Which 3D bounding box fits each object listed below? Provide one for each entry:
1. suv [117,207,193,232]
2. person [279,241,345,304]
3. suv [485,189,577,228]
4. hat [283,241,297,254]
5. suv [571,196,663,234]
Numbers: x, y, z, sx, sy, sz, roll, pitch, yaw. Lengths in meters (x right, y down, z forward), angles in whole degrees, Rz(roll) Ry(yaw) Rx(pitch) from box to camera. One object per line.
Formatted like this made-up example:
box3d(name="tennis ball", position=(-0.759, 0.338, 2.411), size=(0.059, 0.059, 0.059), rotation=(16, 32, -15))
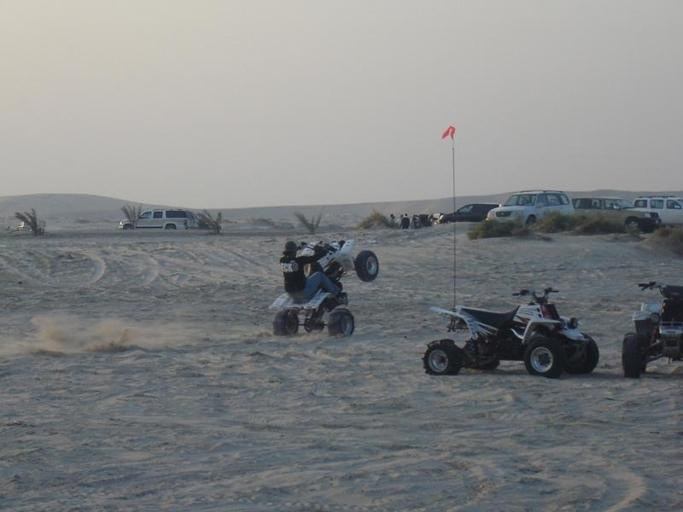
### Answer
box3d(name="suv", position=(-7.707, -1.466, 39.055), size=(2.646, 0.700, 1.045), rotation=(2, 2, 2))
box3d(name="person", position=(-0.592, 0.262, 16.319), size=(0.920, 1.044, 0.427), rotation=(-9, 16, -39))
box3d(name="suv", position=(6.651, -1.698, 33.609), size=(3.067, 1.039, 1.907), rotation=(-8, 13, -40))
box3d(name="hat", position=(-0.879, -0.143, 16.165), size=(0.213, 0.199, 0.294), rotation=(8, 13, 31))
box3d(name="suv", position=(10.063, -1.528, 34.962), size=(3.188, 1.054, 1.461), rotation=(2, 4, 39))
